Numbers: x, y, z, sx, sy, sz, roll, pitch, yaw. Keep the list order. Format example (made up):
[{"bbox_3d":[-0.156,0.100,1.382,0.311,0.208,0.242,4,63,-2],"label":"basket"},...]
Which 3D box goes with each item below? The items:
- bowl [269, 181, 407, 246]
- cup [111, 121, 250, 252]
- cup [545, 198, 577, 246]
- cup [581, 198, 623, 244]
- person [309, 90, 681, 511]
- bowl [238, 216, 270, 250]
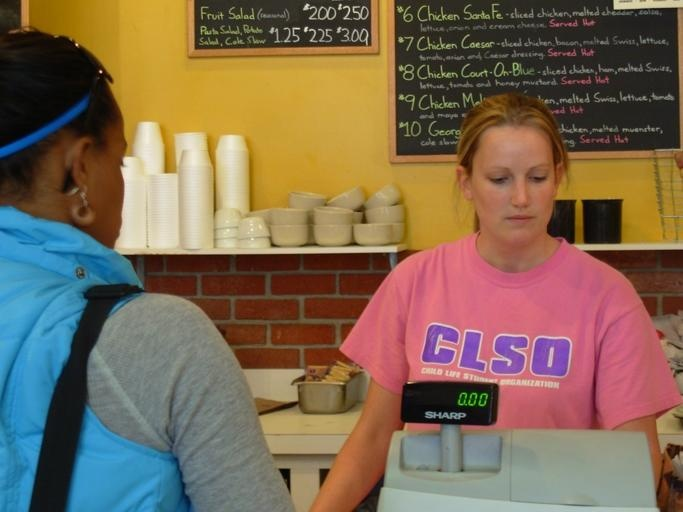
[{"bbox_3d":[-0.004,-0.133,2.593,0.351,0.147,0.250,2,4,13],"label":"bowl"},{"bbox_3d":[-0.468,-0.225,2.622,0.507,0.439,0.350,0,2,1],"label":"cup"},{"bbox_3d":[0.736,-0.111,2.514,0.101,0.157,0.112,-9,15,-28],"label":"cup"},{"bbox_3d":[0.857,-0.112,2.459,0.141,0.142,0.138,0,-2,0],"label":"cup"},{"bbox_3d":[0.319,0.087,1.542,0.698,0.872,0.365,0,3,17],"label":"person"},{"bbox_3d":[-0.293,-0.078,2.530,0.107,0.098,0.106,0,-1,0],"label":"bowl"}]
